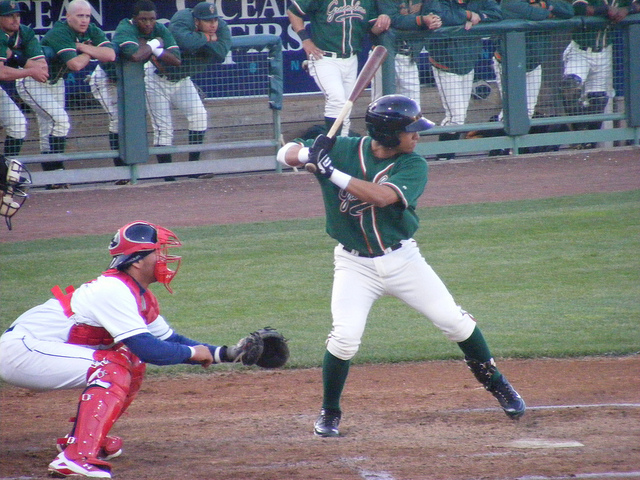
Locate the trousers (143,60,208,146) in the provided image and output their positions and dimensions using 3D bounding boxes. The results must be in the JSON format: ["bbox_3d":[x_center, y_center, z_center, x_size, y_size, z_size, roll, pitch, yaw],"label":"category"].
[{"bbox_3d":[-1.854,-1.743,16.932,0.833,1.079,0.382,-6,11,-16],"label":"trousers"}]

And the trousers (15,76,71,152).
[{"bbox_3d":[-3.377,-1.606,16.197,0.504,0.715,0.343,-12,34,-33],"label":"trousers"}]

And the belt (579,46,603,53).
[{"bbox_3d":[3.691,-2.590,18.036,0.322,0.089,0.076,-5,10,-24],"label":"belt"}]

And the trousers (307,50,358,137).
[{"bbox_3d":[0.224,-1.834,16.703,0.470,1.459,0.595,-15,-16,40],"label":"trousers"}]

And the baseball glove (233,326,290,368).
[{"bbox_3d":[-0.497,0.915,11.091,0.216,0.354,0.465,5,11,37],"label":"baseball glove"}]

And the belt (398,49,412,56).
[{"bbox_3d":[1.104,-2.451,17.328,0.119,0.033,0.056,-3,51,-1],"label":"belt"}]

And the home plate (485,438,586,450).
[{"bbox_3d":[1.787,1.668,10.979,0.792,0.047,0.178,-1,8,4],"label":"home plate"}]
